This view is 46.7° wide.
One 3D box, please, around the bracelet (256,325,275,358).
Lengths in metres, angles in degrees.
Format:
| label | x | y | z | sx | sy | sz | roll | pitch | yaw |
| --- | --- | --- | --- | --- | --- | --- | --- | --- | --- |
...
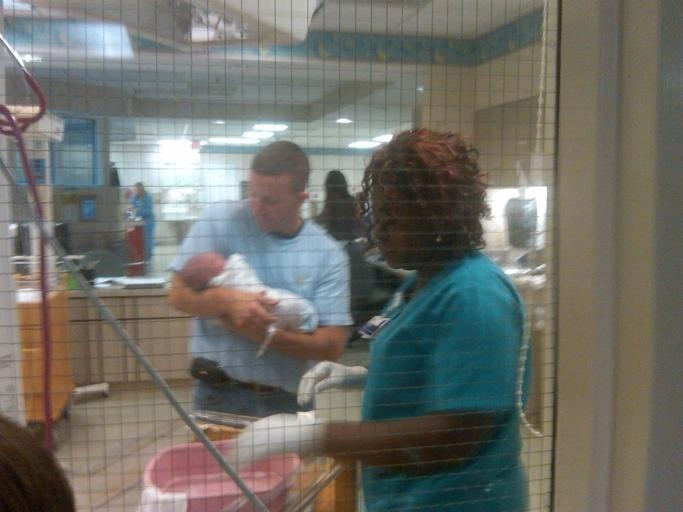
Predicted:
| label | x | y | z | sx | sy | sz | roll | pitch | yaw |
| --- | --- | --- | --- | --- | --- | --- | --- | --- | --- |
| bracelet | -0.125 | 0.140 | 1.327 | 0.019 | 0.064 | 0.010 | 31 | -8 | -5 |
